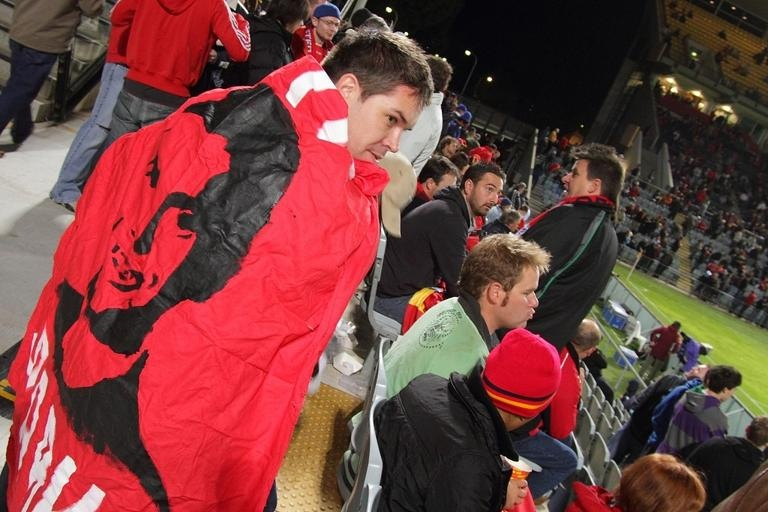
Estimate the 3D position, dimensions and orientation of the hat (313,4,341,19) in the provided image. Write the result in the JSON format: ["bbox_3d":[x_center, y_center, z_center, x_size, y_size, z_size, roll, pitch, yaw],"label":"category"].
[{"bbox_3d":[-0.520,-2.274,5.022,0.165,0.114,0.174,5,22,-4],"label":"hat"}]

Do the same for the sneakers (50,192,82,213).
[{"bbox_3d":[-2.541,-0.446,4.239,0.181,0.110,0.206,20,8,-34],"label":"sneakers"}]

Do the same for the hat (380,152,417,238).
[{"bbox_3d":[0.064,-0.408,3.661,0.163,0.525,0.369,-1,16,-34],"label":"hat"}]

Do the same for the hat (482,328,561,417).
[{"bbox_3d":[0.724,0.582,2.728,0.332,0.409,0.467,17,26,25],"label":"hat"}]
